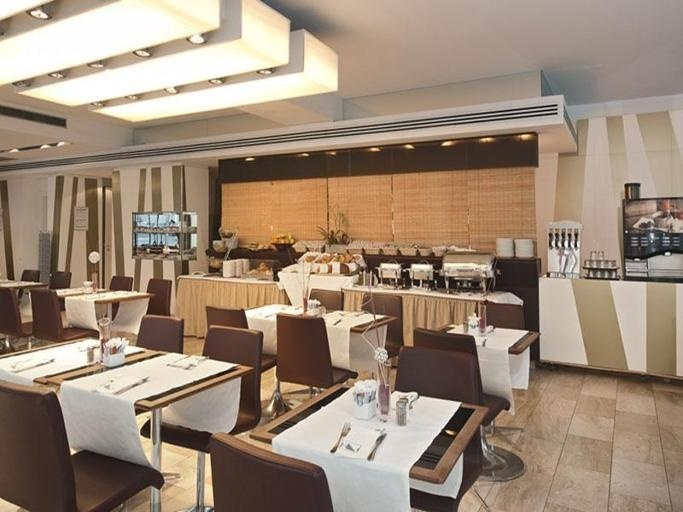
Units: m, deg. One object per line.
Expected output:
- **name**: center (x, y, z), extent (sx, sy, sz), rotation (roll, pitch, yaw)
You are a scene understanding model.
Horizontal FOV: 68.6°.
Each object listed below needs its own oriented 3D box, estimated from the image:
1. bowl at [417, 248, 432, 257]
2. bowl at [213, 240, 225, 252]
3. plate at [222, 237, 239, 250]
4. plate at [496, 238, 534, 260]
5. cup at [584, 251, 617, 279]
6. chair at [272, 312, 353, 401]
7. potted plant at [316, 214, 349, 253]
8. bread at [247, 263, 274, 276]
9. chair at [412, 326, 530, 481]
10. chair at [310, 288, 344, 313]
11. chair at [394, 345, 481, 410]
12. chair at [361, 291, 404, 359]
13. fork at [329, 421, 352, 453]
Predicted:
- **bowl**: center (1.092, -0.048, 6.495), extent (0.106, 0.070, 0.131), rotation (0, 0, -32)
- **bowl**: center (-1.990, -0.158, 8.074), extent (0.280, 0.188, 0.158), rotation (3, 10, 19)
- **plate**: center (-1.779, -0.208, 8.097), extent (0.199, 0.206, 0.193), rotation (2, -2, -35)
- **plate**: center (2.127, -0.100, 6.108), extent (0.460, 0.226, 0.253), rotation (3, 10, 17)
- **cup**: center (2.978, 0.123, 5.800), extent (0.339, 0.308, 0.346), rotation (-1, -1, 0)
- **chair**: center (-0.243, 0.965, 4.474), extent (0.574, 0.947, 0.702), rotation (2, 4, 16)
- **potted plant**: center (-0.093, -0.327, 7.323), extent (0.472, 0.540, 0.521), rotation (0, -4, 8)
- **bread**: center (-1.126, 0.220, 7.208), extent (0.241, 0.117, 0.250), rotation (1, 0, 16)
- **chair**: center (1.021, 1.128, 3.803), extent (0.733, 1.096, 0.697), rotation (-9, 7, 11)
- **chair**: center (-0.145, 0.473, 5.365), extent (0.220, 0.331, 0.268), rotation (-2, -7, 17)
- **chair**: center (0.651, 0.733, 3.318), extent (0.367, 0.517, 0.396), rotation (2, 0, 28)
- **chair**: center (0.345, 0.749, 5.058), extent (0.464, 0.642, 0.501), rotation (4, 16, 31)
- **fork**: center (0.001, 0.909, 2.513), extent (0.036, 0.032, 0.266), rotation (-3, 22, 21)
